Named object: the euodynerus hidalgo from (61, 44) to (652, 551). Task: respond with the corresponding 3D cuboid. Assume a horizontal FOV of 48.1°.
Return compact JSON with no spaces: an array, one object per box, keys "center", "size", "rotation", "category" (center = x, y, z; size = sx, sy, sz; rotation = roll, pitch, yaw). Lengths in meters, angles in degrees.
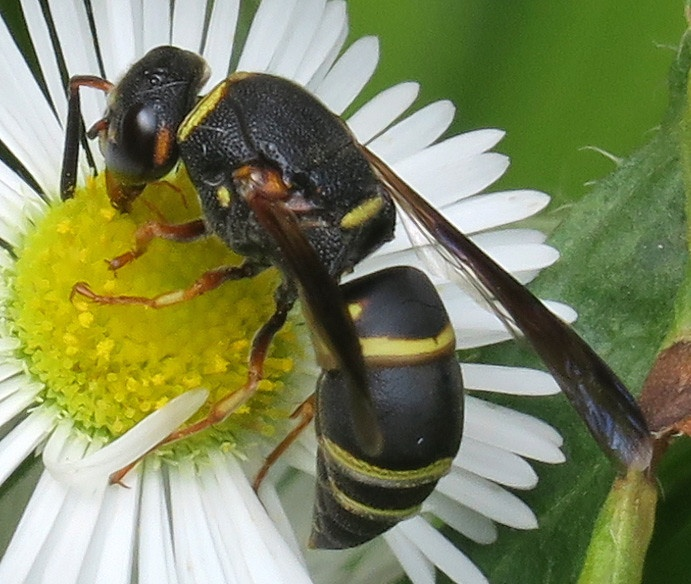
[{"center":[-0.140,0.013,1.037],"size":[0.609,0.792,0.253],"rotation":[-13,-39,-54],"category":"euodynerus hidalgo"}]
